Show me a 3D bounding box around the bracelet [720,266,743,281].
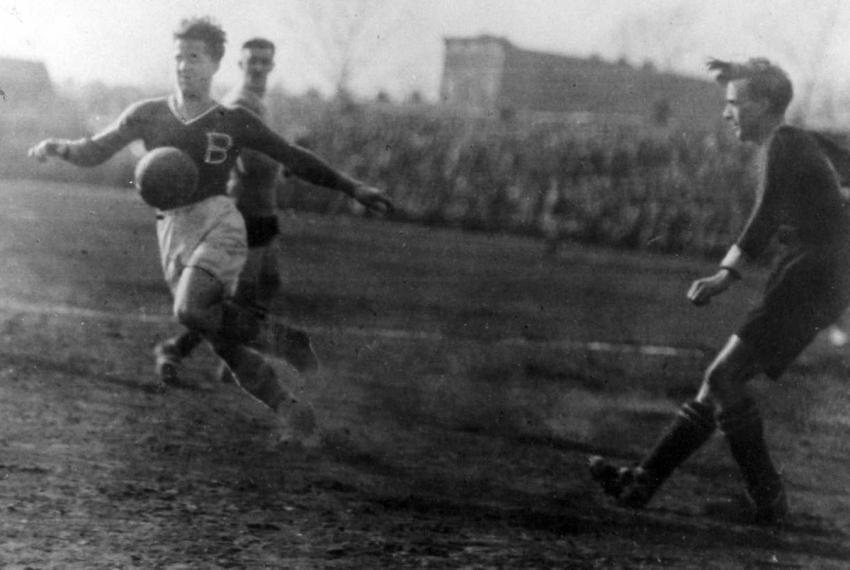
[{"bbox_3d":[1.444,-0.044,5.118,0.058,0.059,0.014,9,45,39],"label":"bracelet"}]
